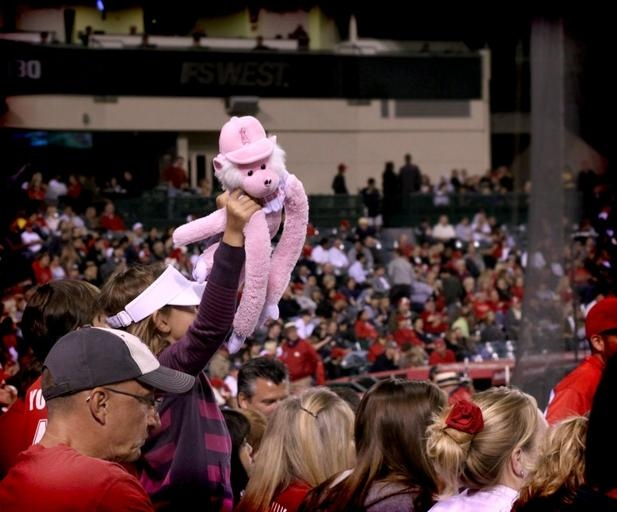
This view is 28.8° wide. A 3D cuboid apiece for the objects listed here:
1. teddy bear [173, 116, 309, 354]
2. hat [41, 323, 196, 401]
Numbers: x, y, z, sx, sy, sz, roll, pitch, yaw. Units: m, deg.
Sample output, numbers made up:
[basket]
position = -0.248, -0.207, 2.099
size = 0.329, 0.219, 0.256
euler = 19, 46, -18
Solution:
[teddy bear]
position = -0.303, -0.127, 6.128
size = 0.459, 1.169, 0.741
euler = 22, 30, 37
[hat]
position = -0.919, 0.519, 5.749
size = 0.724, 0.341, 0.488
euler = 6, -11, -20
